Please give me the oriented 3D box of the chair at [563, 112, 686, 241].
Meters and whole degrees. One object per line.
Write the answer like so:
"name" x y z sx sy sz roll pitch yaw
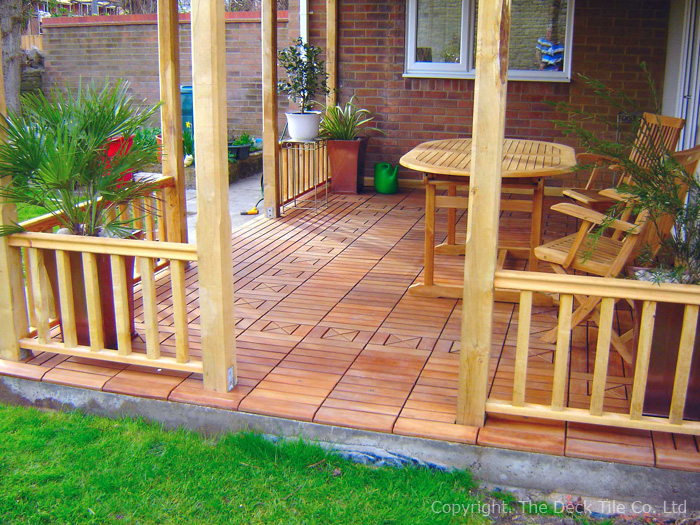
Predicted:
"chair" 2.126 -0.649 4.465 0.512 0.760 0.813 -2 -4 -31

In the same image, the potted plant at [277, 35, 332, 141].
"potted plant" -0.575 -2.210 7.188 0.609 1.200 1.284 -2 19 -2

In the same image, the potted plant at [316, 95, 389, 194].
"potted plant" 0.002 -1.547 7.584 0.768 1.216 1.092 2 19 9
